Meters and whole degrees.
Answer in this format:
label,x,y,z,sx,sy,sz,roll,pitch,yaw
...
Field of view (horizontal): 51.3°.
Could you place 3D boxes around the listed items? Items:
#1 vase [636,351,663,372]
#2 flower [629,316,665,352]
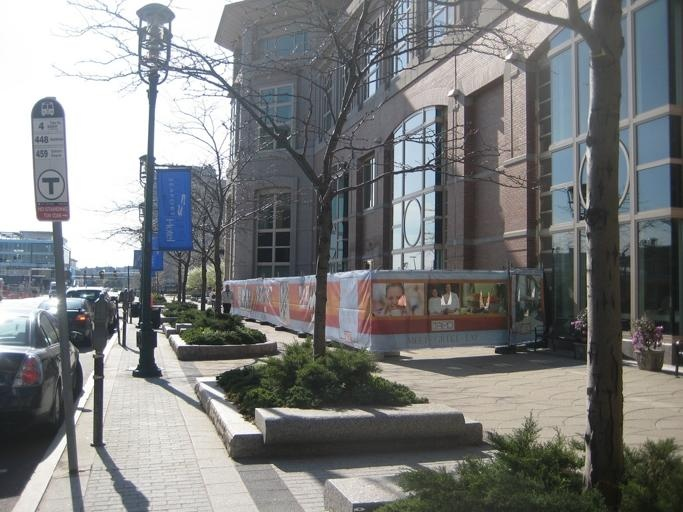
label,x,y,z,sx,sy,sz,roll,pitch,yaw
vase,7.082,2.446,16.485,0.410,0.419,0.535,6,-12,-32
flower,7.124,1.813,16.728,0.738,1.030,0.759,-3,-4,19
